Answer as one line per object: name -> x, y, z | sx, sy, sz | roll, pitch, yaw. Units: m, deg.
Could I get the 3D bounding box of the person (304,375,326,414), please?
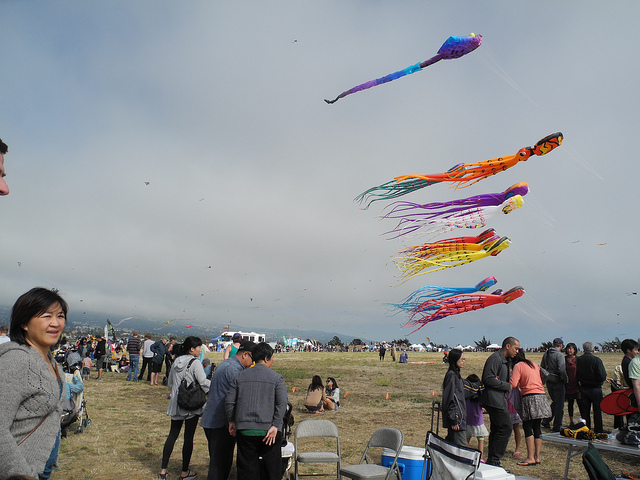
person -> -0.120, 5.282, 15.979 | 0.682, 1.195, 0.764 | -1, -14, 28

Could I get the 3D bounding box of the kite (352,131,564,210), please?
kite -> 4.726, -1.830, 13.380 | 7.526, 1.352, 0.852 | -15, -35, -9

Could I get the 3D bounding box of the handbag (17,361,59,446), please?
handbag -> -2.535, 1.451, 4.079 | 0.044, 0.847, 0.208 | 26, 5, -31

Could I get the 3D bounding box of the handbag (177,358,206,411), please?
handbag -> -2.348, 2.651, 8.319 | 0.627, 0.874, 0.409 | -28, -29, 36

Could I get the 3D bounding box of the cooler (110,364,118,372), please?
cooler -> -10.803, 6.620, 23.938 | 0.363, 0.362, 0.268 | 0, -1, -10

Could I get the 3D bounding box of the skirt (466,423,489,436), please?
skirt -> 3.311, 4.004, 9.704 | 0.473, 0.215, 0.227 | -6, 2, 2

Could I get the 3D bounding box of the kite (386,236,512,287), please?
kite -> 5.036, 0.352, 16.170 | 3.526, 0.895, 0.997 | -17, -12, -1

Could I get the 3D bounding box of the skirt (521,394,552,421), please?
skirt -> 4.791, 3.712, 10.338 | 0.776, 0.549, 0.494 | 0, -28, -6
